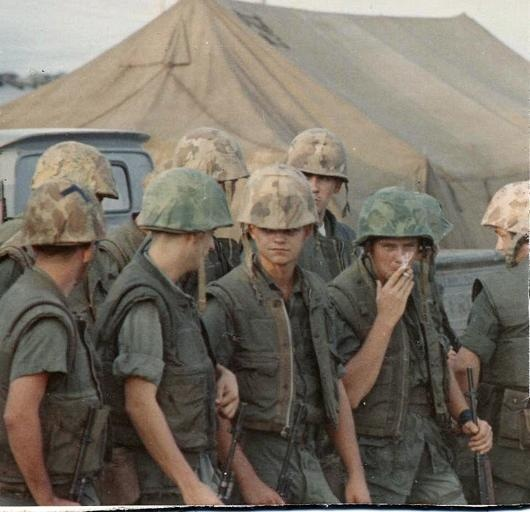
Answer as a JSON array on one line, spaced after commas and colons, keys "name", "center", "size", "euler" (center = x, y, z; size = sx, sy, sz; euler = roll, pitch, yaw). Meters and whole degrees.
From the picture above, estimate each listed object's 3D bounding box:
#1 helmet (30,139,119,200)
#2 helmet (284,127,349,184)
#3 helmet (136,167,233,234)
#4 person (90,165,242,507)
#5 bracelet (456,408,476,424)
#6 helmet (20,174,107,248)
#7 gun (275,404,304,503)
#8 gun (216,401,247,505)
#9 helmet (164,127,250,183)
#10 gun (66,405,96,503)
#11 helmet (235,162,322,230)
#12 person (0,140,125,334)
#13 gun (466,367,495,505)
[{"name": "helmet", "center": [-0.999, -0.465, 5.377], "size": [0.413, 0.249, 0.268], "euler": [9, 6, 10]}, {"name": "helmet", "center": [0.322, -0.586, 5.803], "size": [0.249, 0.274, 0.322], "euler": [6, 15, -2]}, {"name": "helmet", "center": [-0.358, -0.231, 4.452], "size": [0.322, 0.201, 0.327], "euler": [2, 7, 21]}, {"name": "person", "center": [-0.434, 0.400, 4.409], "size": [0.636, 1.553, 0.571], "euler": [0, 6, -2]}, {"name": "bracelet", "center": [1.077, 0.843, 5.265], "size": [0.063, 0.061, 0.080], "euler": [1, -32, -2]}, {"name": "helmet", "center": [-0.866, -0.200, 4.251], "size": [0.282, 0.220, 0.303], "euler": [0, 4, -3]}, {"name": "gun", "center": [0.123, 0.907, 4.675], "size": [0.087, 0.431, 0.241], "euler": [2, 7, 23]}, {"name": "gun", "center": [-0.148, 0.914, 4.528], "size": [0.083, 0.495, 0.178], "euler": [9, -2, 24]}, {"name": "helmet", "center": [-0.308, -0.565, 5.780], "size": [0.395, 0.235, 0.281], "euler": [15, 14, 27]}, {"name": "gun", "center": [-0.786, 0.826, 4.270], "size": [0.106, 0.445, 0.026], "euler": [13, -2, -38]}, {"name": "helmet", "center": [0.068, -0.285, 4.715], "size": [0.265, 0.190, 0.363], "euler": [0, 11, 2]}, {"name": "person", "center": [-1.095, -0.123, 5.073], "size": [0.596, 0.505, 1.010], "euler": [5, 20, -1]}, {"name": "gun", "center": [1.172, 0.952, 5.378], "size": [0.130, 0.779, 0.057], "euler": [-4, 0, -44]}]
